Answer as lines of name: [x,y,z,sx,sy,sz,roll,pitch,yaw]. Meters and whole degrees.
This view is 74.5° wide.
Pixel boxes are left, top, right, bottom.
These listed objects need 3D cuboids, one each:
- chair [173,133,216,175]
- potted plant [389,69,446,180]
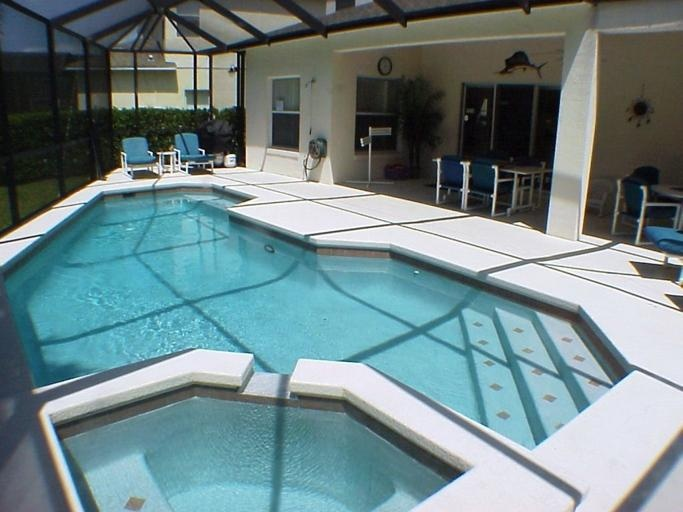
chair: [-4.476,-3.098,13.521,1.046,1.206,1.544,-11,29,-30]
potted plant: [2.174,-3.761,12.760,1.388,2.588,0.505,-7,18,-26]
